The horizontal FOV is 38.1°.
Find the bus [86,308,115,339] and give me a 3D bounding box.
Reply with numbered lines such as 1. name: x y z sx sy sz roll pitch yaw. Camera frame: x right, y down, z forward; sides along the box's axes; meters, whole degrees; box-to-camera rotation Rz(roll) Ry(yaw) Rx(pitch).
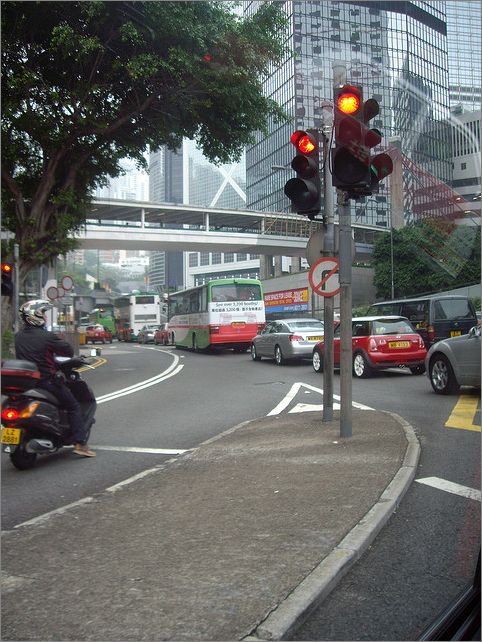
1. bus: -11.785 -0.086 60.550 2.103 2.686 5.325 0 4 -26

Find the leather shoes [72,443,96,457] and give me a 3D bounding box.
1. leather shoes: -1.543 1.270 6.845 0.265 0.141 0.105 10 7 -15

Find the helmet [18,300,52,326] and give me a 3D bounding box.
1. helmet: -1.919 -0.086 6.497 0.278 0.241 0.201 -6 12 -31

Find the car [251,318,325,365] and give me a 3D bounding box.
1. car: 1.399 0.505 19.393 0.937 0.748 2.251 -1 3 -14

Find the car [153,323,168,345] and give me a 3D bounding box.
1. car: -4.590 0.839 41.677 0.868 0.810 1.783 0 5 -21

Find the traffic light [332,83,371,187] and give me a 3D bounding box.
1. traffic light: 0.978 -1.672 6.247 0.370 0.951 0.347 -1 3 27

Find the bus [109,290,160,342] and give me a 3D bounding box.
1. bus: -7.874 -0.646 54.375 2.115 3.095 5.914 0 4 -18

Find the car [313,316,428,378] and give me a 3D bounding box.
1. car: 2.783 0.467 15.130 1.398 1.052 2.400 -1 3 -20

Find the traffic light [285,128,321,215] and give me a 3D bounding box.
1. traffic light: 0.673 -1.632 7.609 0.391 0.992 0.489 -2 3 6

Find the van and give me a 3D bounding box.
1. van: 5.025 -0.146 18.582 1.597 1.435 2.740 -1 5 -18
